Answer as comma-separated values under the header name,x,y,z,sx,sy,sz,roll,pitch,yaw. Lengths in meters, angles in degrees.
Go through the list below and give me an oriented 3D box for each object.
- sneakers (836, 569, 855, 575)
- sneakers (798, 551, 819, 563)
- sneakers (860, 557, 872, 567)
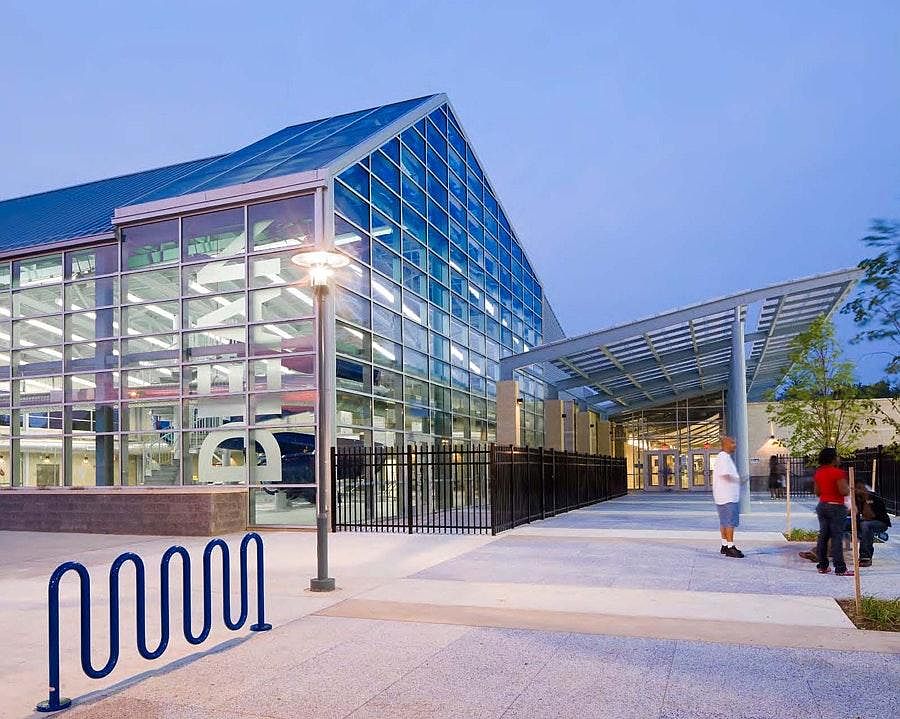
name,x,y,z,sx,sy,sz,roll,pitch,yaw
sneakers,6.244,3.325,11.582,0.215,0.090,0.692,-7,-12,33
sneakers,6.355,3.479,13.058,0.159,0.170,0.437,36,-19,-12
sneakers,6.867,3.347,12.121,0.166,0.055,0.126,-6,-8,30
